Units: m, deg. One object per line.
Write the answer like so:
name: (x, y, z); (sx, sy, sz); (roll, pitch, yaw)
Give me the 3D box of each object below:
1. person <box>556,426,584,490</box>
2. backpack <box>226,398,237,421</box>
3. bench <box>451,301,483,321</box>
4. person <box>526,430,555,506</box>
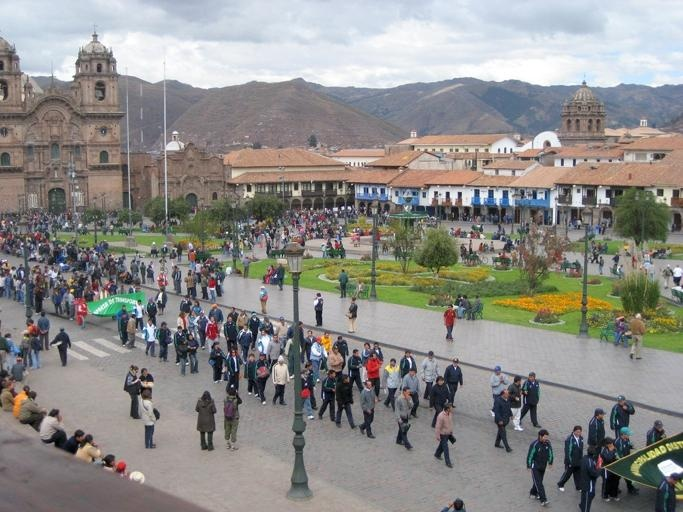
person: (8.289, 7.312, 43.412); (1.216, 2.361, 0.754); (2, -2, 14)
backpack: (-4.246, 5.894, 46.328); (0.406, 0.832, 0.236); (-3, 5, -45)
bench: (6.517, 2.842, 61.643); (1.093, 0.693, 1.103); (1, 3, 25)
person: (7.086, 7.548, 43.290); (0.832, 2.680, 0.869); (1, 4, 14)
